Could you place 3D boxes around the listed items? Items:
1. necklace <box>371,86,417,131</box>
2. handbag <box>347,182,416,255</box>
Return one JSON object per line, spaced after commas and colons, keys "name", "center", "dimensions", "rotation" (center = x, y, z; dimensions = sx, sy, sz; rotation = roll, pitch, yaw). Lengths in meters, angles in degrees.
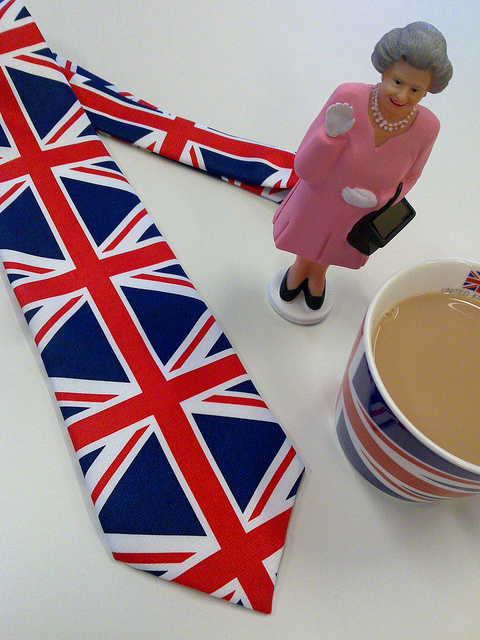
{"name": "necklace", "center": [0.186, -0.253, 0.799], "dimensions": [0.054, 0.043, 0.023], "rotation": [10, 37, 4]}
{"name": "handbag", "center": [0.171, -0.124, 0.880], "dimensions": [0.121, 0.073, 0.126], "rotation": [-2, 2, 21]}
